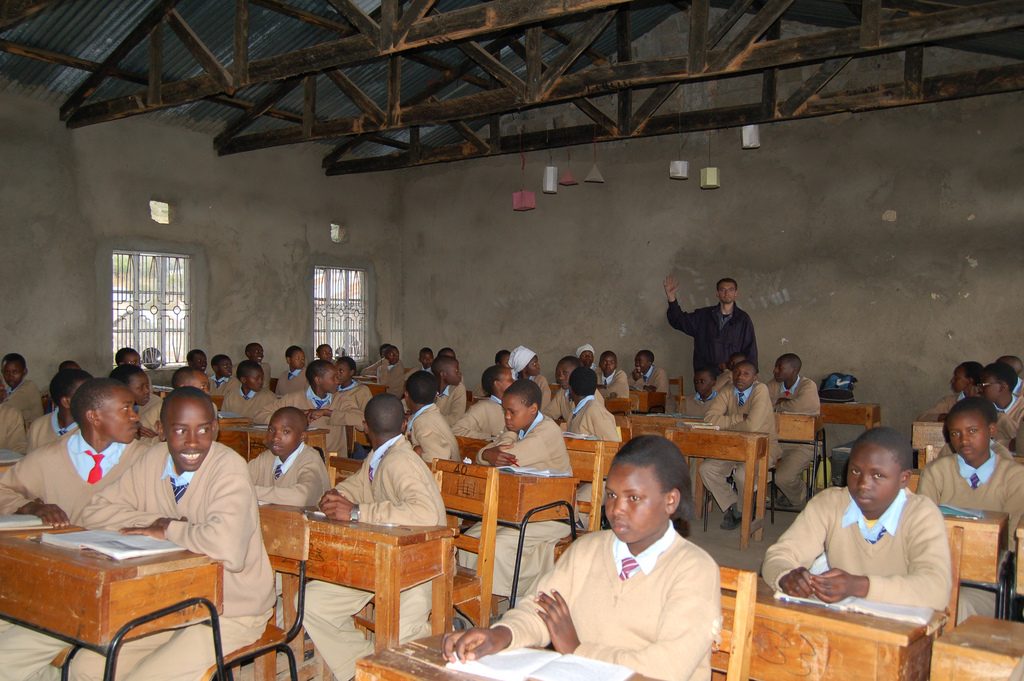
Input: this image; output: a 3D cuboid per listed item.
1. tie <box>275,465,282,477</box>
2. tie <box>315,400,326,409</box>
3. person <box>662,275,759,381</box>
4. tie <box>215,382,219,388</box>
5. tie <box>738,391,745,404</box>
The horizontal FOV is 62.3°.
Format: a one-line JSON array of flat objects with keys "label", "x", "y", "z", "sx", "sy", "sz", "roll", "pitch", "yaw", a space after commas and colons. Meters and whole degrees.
[{"label": "tie", "x": -1.480, "y": 0.819, "z": 5.376, "sx": 0.042, "sy": 0.063, "sz": 0.015, "roll": -6, "pitch": -14, "yaw": 32}, {"label": "tie", "x": -1.841, "y": 0.604, "z": 8.168, "sx": 0.071, "sy": 0.059, "sz": 0.074, "roll": 0, "pitch": -7, "yaw": 18}, {"label": "person", "x": 2.177, "y": 0.285, "z": 8.984, "sx": 0.920, "sy": 1.858, "sz": 0.545, "roll": -2, "pitch": 0, "yaw": 23}, {"label": "tie", "x": -3.375, "y": 0.499, "z": 9.698, "sx": 0.053, "sy": 0.058, "sz": 0.014, "roll": -8, "pitch": -21, "yaw": 16}, {"label": "tie", "x": 2.125, "y": 0.520, "z": 7.820, "sx": 0.021, "sy": 0.095, "sz": 0.065, "roll": 8, "pitch": -11, "yaw": -20}]
